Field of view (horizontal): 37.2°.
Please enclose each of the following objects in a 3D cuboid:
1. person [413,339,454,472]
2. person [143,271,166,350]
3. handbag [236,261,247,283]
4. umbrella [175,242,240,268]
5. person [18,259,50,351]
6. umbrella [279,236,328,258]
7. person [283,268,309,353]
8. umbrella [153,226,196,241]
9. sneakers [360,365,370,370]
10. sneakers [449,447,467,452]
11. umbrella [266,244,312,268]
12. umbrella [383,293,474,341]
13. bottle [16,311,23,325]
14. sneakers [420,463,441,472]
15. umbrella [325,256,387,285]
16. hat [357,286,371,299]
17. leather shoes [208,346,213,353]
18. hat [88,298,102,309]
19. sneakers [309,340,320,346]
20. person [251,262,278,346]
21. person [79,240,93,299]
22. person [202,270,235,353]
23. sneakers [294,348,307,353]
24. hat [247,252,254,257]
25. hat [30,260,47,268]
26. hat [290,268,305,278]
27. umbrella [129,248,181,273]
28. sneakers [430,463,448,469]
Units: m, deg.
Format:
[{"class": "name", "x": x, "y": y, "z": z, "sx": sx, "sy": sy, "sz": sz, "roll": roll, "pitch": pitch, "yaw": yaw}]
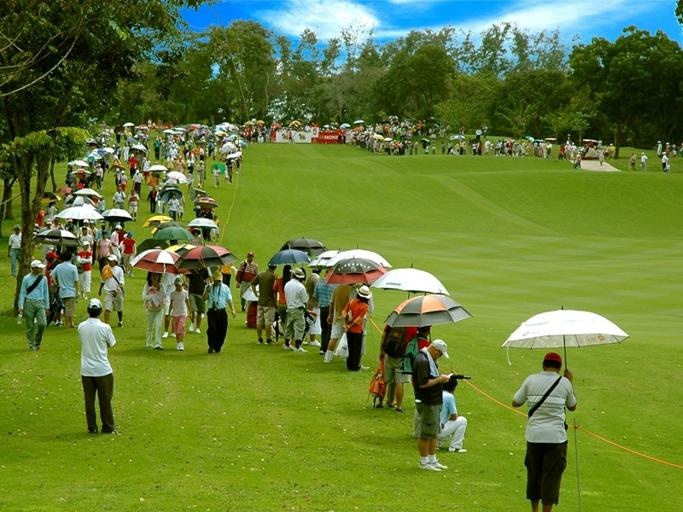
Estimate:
[{"class": "person", "x": 2.355, "y": 3.996, "z": 27.070, "sx": 0.926, "sy": 3.393, "sz": 0.890, "roll": 1, "pitch": 13, "yaw": -12}, {"class": "person", "x": -6.409, "y": 1.800, "z": 34.636, "sx": 0.666, "sy": 2.773, "sz": 1.145, "roll": 2, "pitch": 13, "yaw": -9}, {"class": "handbag", "x": -3.823, "y": 0.659, "z": 38.525, "sx": 0.260, "sy": 0.687, "sz": 0.517, "roll": 11, "pitch": 7, "yaw": -4}, {"class": "umbrella", "x": -4.634, "y": 0.076, "z": 34.448, "sx": 1.862, "sy": 0.744, "sz": 0.898, "roll": 2, "pitch": 13, "yaw": -7}, {"class": "person", "x": -10.262, "y": 1.677, "z": 33.858, "sx": 0.858, "sy": 2.902, "sz": 0.763, "roll": 0, "pitch": 14, "yaw": -17}, {"class": "umbrella", "x": -1.593, "y": -0.353, "z": 41.409, "sx": 1.444, "sy": 0.574, "sz": 1.402, "roll": 1, "pitch": 2, "yaw": 1}, {"class": "person", "x": -1.611, "y": 1.915, "z": 34.853, "sx": 0.826, "sy": 2.964, "sz": 0.759, "roll": 3, "pitch": 13, "yaw": -3}, {"class": "umbrella", "x": -6.972, "y": -0.850, "z": 41.510, "sx": 1.448, "sy": 0.578, "sz": 1.253, "roll": 10, "pitch": 14, "yaw": 26}, {"class": "sneakers", "x": 0.737, "y": 3.738, "z": 33.840, "sx": 0.287, "sy": 0.186, "sz": 0.103, "roll": -6, "pitch": -2, "yaw": 39}, {"class": "sneakers", "x": 3.221, "y": 5.432, "z": 28.305, "sx": 0.497, "sy": 0.198, "sz": 0.164, "roll": -2, "pitch": 8, "yaw": -1}, {"class": "umbrella", "x": -2.015, "y": 0.041, "z": 39.173, "sx": 1.311, "sy": 0.510, "sz": 1.268, "roll": -1, "pitch": -1, "yaw": 2}, {"class": "umbrella", "x": 2.310, "y": 1.641, "z": 28.060, "sx": 2.102, "sy": 0.908, "sz": 1.005, "roll": 4, "pitch": 12, "yaw": 2}, {"class": "bottle", "x": -11.950, "y": 2.353, "z": 37.637, "sx": 0.195, "sy": 0.210, "sz": 0.706, "roll": 0, "pitch": 23, "yaw": -13}, {"class": "sneakers", "x": 2.334, "y": 5.655, "z": 27.088, "sx": 0.585, "sy": 0.217, "sz": 0.196, "roll": 2, "pitch": 2, "yaw": 2}, {"class": "umbrella", "x": 0.610, "y": 0.474, "z": 32.741, "sx": 1.132, "sy": 0.514, "sz": 1.098, "roll": -13, "pitch": 13, "yaw": -41}, {"class": "hat", "x": 0.688, "y": 1.213, "z": 32.085, "sx": 0.394, "sy": 0.537, "sz": 0.988, "roll": 4, "pitch": 12, "yaw": 1}, {"class": "leather shoes", "x": -4.474, "y": 3.202, "z": 34.519, "sx": 0.185, "sy": 0.294, "sz": 0.210, "roll": 1, "pitch": -5, "yaw": -10}, {"class": "hat", "x": -6.841, "y": 1.365, "z": 28.095, "sx": 0.333, "sy": 0.248, "sz": 0.464, "roll": 1, "pitch": 8, "yaw": -14}, {"class": "sneakers", "x": -0.963, "y": 3.169, "z": 36.499, "sx": 0.457, "sy": 0.186, "sz": 0.156, "roll": 0, "pitch": 2, "yaw": 28}, {"class": "person", "x": -2.722, "y": 1.695, "z": 35.886, "sx": 0.818, "sy": 3.052, "sz": 1.488, "roll": 3, "pitch": 13, "yaw": -5}, {"class": "person", "x": -10.394, "y": 0.554, "z": 41.041, "sx": 0.486, "sy": 2.322, "sz": 1.336, "roll": 1, "pitch": 13, "yaw": -10}, {"class": "person", "x": -4.203, "y": 1.939, "z": 34.129, "sx": 0.660, "sy": 2.790, "sz": 0.671, "roll": 2, "pitch": 13, "yaw": -8}, {"class": "sneakers", "x": -1.445, "y": 3.311, "z": 35.419, "sx": 0.446, "sy": 0.178, "sz": 0.148, "roll": 0, "pitch": -1, "yaw": -7}, {"class": "hat", "x": -3.681, "y": -0.049, "z": 40.974, "sx": 0.256, "sy": 0.196, "sz": 0.232, "roll": -25, "pitch": -9, "yaw": 18}, {"class": "hat", "x": -10.682, "y": 0.309, "z": 35.684, "sx": 0.473, "sy": 0.159, "sz": 0.294, "roll": 2, "pitch": 4, "yaw": 14}, {"class": "hat", "x": -1.513, "y": 0.613, "z": 34.554, "sx": 0.499, "sy": 0.285, "sz": 0.419, "roll": 7, "pitch": 13, "yaw": 16}, {"class": "umbrella", "x": -6.278, "y": 0.209, "z": 34.358, "sx": 1.490, "sy": 0.683, "sz": 1.116, "roll": 2, "pitch": 12, "yaw": -9}, {"class": "sneakers", "x": 2.603, "y": 5.643, "z": 27.207, "sx": 0.471, "sy": 0.174, "sz": 0.153, "roll": 0, "pitch": 3, "yaw": -1}]
